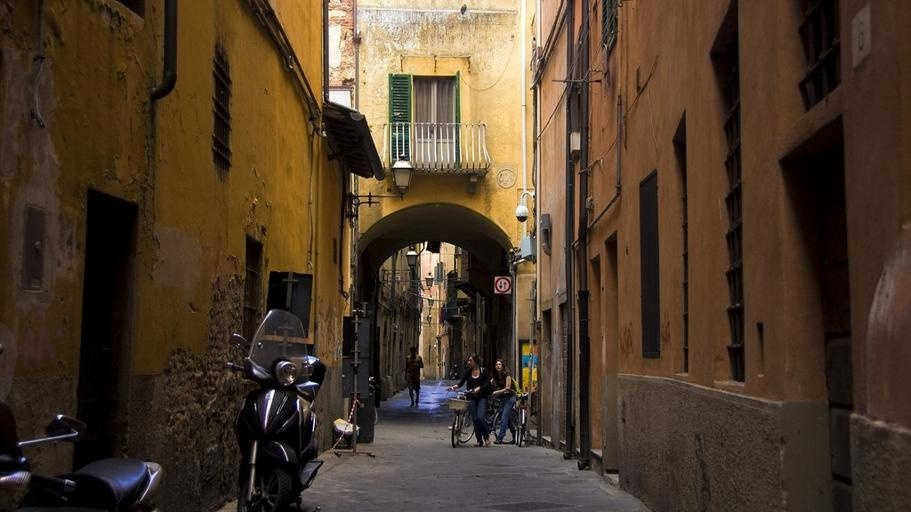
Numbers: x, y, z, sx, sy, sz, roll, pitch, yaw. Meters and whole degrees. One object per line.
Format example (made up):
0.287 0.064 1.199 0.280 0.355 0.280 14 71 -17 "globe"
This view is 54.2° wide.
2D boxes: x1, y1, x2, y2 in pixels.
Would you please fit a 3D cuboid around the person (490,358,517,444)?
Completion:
1.071 3.114 19.357 0.539 1.845 1.440 3 -15 4 "person"

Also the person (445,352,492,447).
0.379 3.086 19.138 0.818 2.079 1.503 4 -14 1 "person"

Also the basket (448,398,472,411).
0.091 3.129 18.830 0.370 0.236 0.587 7 -16 -9 "basket"

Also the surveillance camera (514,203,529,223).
1.530 -1.016 21.328 0.358 0.524 0.365 3 7 43 "surveillance camera"

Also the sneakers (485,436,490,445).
0.679 3.959 19.044 0.116 0.185 0.078 8 -14 -19 "sneakers"

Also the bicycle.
0.712 3.589 19.446 1.895 1.287 0.990 4 -10 -17 "bicycle"

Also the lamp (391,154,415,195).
-1.278 -1.990 21.343 0.760 1.128 0.786 0 -6 -1 "lamp"
